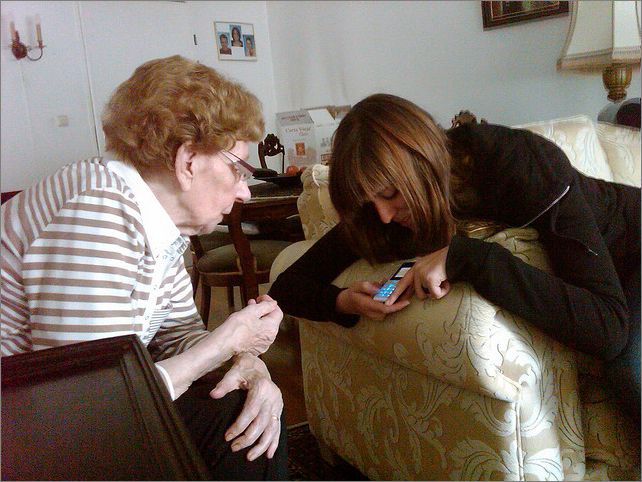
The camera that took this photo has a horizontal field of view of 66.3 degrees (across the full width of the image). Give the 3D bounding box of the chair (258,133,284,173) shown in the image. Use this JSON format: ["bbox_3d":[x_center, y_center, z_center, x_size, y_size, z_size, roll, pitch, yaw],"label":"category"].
[{"bbox_3d":[-0.332,-0.609,3.664,0.206,0.399,0.203,2,12,14],"label":"chair"}]

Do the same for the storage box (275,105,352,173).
[{"bbox_3d":[-0.066,-0.683,3.212,0.350,0.362,0.207,-8,34,-9],"label":"storage box"}]

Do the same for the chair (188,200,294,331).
[{"bbox_3d":[-0.543,0.118,2.653,0.356,0.537,0.349,5,-2,-29],"label":"chair"}]
